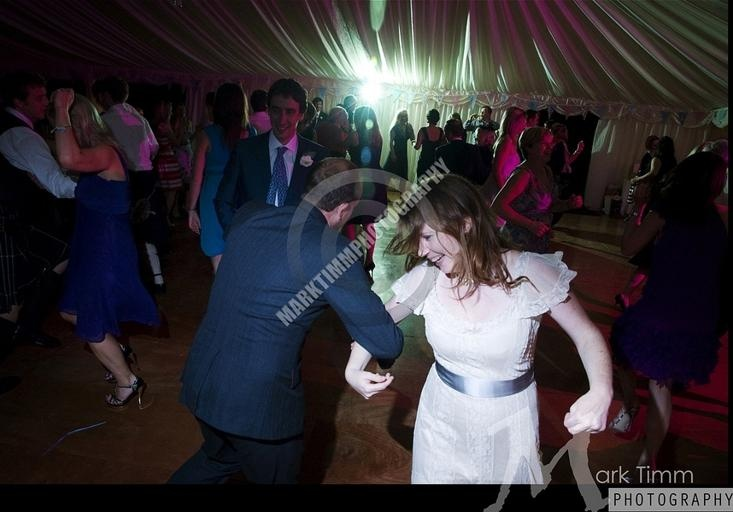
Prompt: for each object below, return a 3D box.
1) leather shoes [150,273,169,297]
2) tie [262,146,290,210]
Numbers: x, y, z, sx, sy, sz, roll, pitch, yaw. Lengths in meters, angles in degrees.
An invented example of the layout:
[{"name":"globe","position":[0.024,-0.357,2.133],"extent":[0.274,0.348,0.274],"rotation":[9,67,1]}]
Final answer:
[{"name":"leather shoes","position":[-2.393,0.329,5.147],"extent":[0.107,0.134,0.300],"rotation":[-5,31,-23]},{"name":"tie","position":[-0.695,-0.622,3.501],"extent":[0.176,0.440,0.092],"rotation":[-2,16,-11]}]
